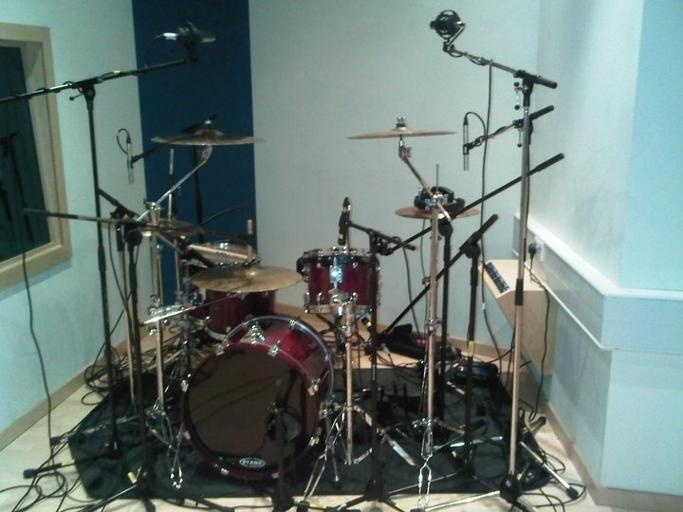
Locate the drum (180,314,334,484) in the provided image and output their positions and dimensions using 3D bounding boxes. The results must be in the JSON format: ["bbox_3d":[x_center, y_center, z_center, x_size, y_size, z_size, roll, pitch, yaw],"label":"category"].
[{"bbox_3d":[-0.435,0.759,4.058,0.912,1.117,0.795,7,14,16],"label":"drum"}]

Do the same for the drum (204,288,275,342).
[{"bbox_3d":[-0.653,0.348,4.470,0.346,0.375,0.350,-4,15,-25],"label":"drum"}]

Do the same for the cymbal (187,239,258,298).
[{"bbox_3d":[-0.793,0.087,4.546,0.425,0.172,0.325,-4,14,-9],"label":"cymbal"}]

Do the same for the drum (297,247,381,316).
[{"bbox_3d":[-0.074,0.246,4.363,0.560,0.455,0.397,2,11,13],"label":"drum"}]
